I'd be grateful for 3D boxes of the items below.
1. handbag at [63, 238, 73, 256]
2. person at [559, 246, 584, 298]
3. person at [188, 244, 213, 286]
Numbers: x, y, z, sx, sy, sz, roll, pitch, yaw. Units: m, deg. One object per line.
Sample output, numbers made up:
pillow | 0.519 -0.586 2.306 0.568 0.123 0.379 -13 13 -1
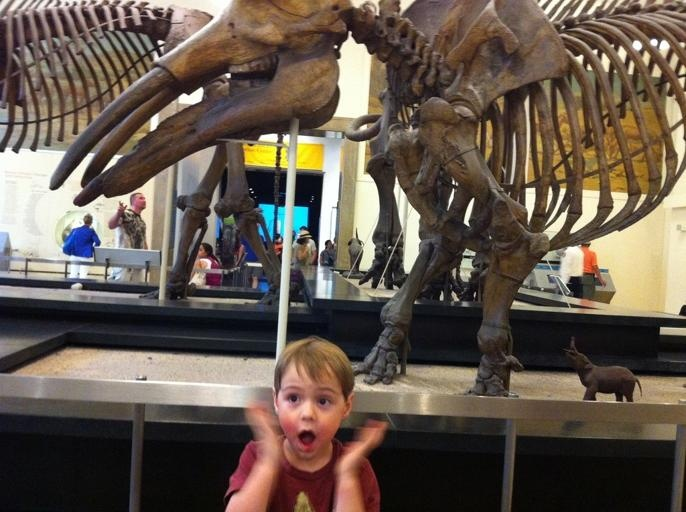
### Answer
handbag | -3.408 -0.112 8.237 0.191 0.219 0.053 -9 -3 40
person | 3.397 0.232 9.789 0.343 0.751 0.309 3 -3 10
person | -1.885 0.106 8.916 0.253 0.575 1.002 4 -3 -11
